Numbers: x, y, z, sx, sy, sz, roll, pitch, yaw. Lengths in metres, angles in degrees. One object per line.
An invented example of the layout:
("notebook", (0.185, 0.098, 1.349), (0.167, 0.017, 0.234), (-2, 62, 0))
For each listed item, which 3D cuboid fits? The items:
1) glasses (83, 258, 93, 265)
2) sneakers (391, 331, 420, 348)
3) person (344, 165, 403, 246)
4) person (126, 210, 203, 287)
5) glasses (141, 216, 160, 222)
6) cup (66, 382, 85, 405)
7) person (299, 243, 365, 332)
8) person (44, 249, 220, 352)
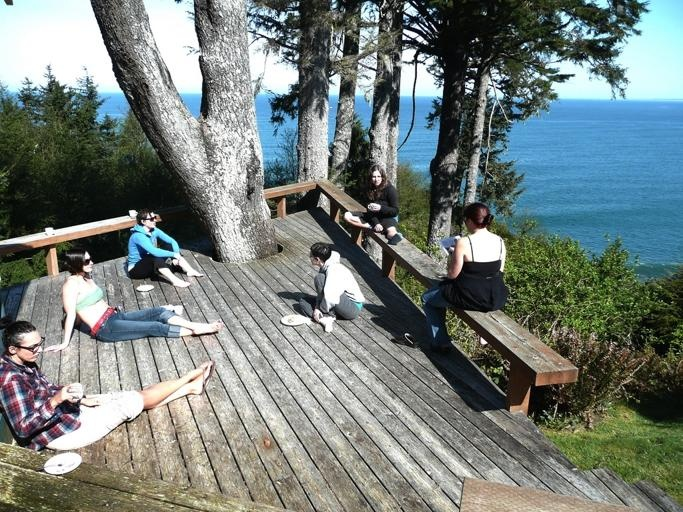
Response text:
("glasses", (-2.965, 0.072, 5.191), (0.125, 0.045, 0.124), (4, 5, 31))
("sneakers", (0.797, 1.048, 5.476), (0.139, 0.142, 0.323), (-15, 22, -37))
("person", (0.680, -0.894, 7.247), (0.893, 1.098, 1.393), (-12, 26, -21))
("person", (-2.801, -0.145, 7.003), (1.069, 1.127, 0.646), (8, 16, 12))
("glasses", (-2.869, -0.555, 6.653), (0.165, 0.053, 0.169), (0, 7, 11))
("cup", (-2.236, 1.174, 3.740), (0.111, 0.240, 0.162), (-10, 20, -26))
("person", (-0.143, 0.350, 5.923), (0.772, 1.032, 0.805), (15, 19, 38))
("person", (-2.462, 0.519, 5.439), (1.818, 1.030, 0.975), (6, 9, -23))
